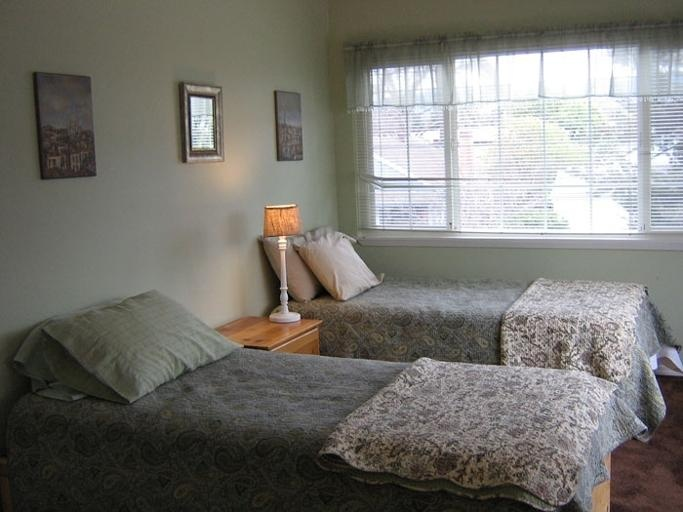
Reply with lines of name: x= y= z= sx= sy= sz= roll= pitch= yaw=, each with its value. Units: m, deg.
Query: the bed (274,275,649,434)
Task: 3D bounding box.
bed: x=0.747 y=0.466 z=3.596 sx=1.808 sy=0.522 sz=1.163 roll=1 pitch=6 yaw=25

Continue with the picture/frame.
picture/frame: x=-0.929 y=-0.877 z=3.330 sx=0.059 sy=0.635 sz=0.510 roll=1 pitch=6 yaw=24

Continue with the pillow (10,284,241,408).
pillow: x=-1.019 y=0.429 z=2.480 sx=0.526 sy=0.155 sz=0.553 roll=24 pitch=23 yaw=27
